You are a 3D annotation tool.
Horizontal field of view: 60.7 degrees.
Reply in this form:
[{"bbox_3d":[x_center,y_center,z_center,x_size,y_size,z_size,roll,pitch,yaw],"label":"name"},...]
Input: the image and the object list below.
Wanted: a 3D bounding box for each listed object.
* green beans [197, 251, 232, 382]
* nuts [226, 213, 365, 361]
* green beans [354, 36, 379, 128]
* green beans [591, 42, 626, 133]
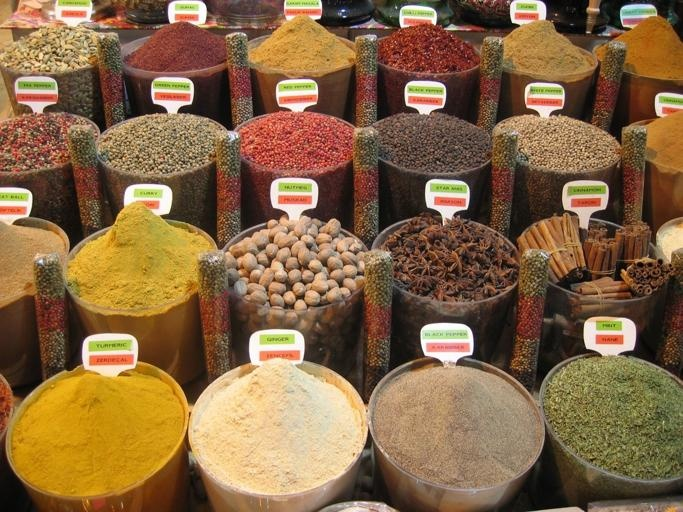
[{"bbox_3d":[-0.470,0.196,2.147,0.090,0.483,0.102,-2,19,-7],"label":"green beans"},{"bbox_3d":[-0.119,0.131,2.478,0.595,0.552,0.695,0,30,4],"label":"nuts"},{"bbox_3d":[0.118,-0.923,3.028,0.118,0.493,0.108,4,-3,-33],"label":"green beans"},{"bbox_3d":[1.443,-0.918,3.120,0.105,0.481,0.116,-33,48,-21],"label":"green beans"}]
